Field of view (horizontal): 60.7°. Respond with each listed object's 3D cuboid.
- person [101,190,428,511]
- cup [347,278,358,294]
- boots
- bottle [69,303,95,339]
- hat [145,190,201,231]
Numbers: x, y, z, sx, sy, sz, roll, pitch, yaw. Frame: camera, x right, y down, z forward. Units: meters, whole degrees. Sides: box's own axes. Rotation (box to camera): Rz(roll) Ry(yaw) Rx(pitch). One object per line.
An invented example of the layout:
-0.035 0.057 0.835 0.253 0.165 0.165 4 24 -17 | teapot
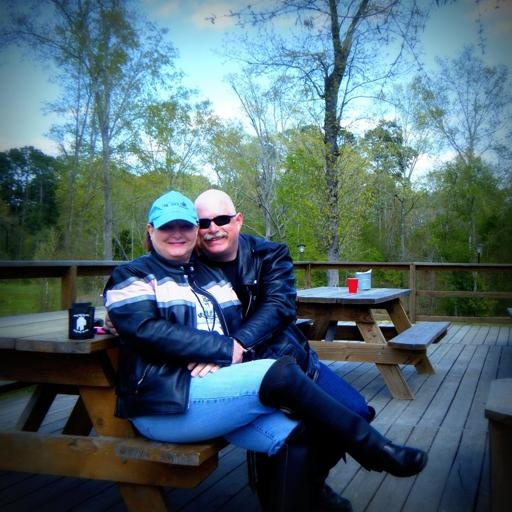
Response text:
0.026 0.309 1.912 1.365 1.374 0.746 -4 -3 20 | person
0.885 0.284 4.046 0.133 0.129 0.124 2 -9 0 | cup
0.228 0.473 1.355 0.619 0.218 0.196 32 36 -1 | boots
-0.561 0.207 1.407 0.073 0.111 0.121 0 -3 -22 | bottle
-0.283 -0.155 1.513 0.125 0.093 0.174 1 -1 -16 | hat
